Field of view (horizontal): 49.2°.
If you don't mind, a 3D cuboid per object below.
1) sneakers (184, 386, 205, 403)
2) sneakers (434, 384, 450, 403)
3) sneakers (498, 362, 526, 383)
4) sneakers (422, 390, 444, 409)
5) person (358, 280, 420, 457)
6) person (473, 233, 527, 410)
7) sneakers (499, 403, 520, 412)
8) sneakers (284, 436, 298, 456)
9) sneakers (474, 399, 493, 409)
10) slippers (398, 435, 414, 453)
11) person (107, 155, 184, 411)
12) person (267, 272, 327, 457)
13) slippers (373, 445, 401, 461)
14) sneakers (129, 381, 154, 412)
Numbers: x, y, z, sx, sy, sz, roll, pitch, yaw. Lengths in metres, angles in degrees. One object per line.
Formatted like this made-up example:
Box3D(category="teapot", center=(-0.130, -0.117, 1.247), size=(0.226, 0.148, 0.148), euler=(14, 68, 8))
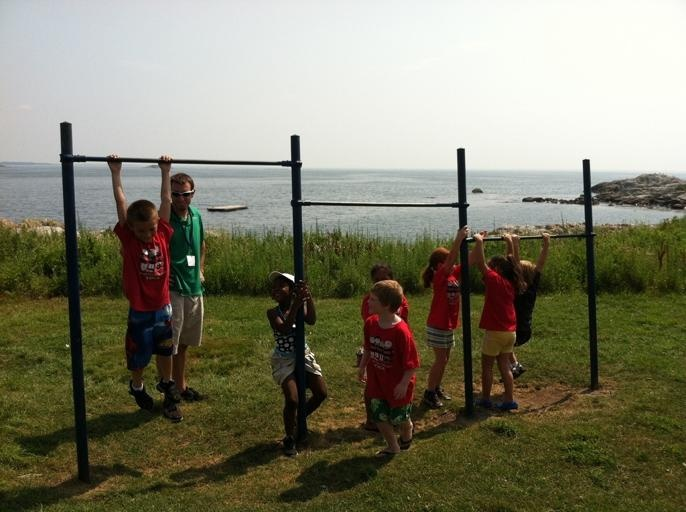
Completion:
Box3D(category="sneakers", center=(-1.758, 1.648, 8.877), size=(0.233, 0.101, 0.124), euler=(3, 11, 35))
Box3D(category="sneakers", center=(1.150, 1.660, 9.132), size=(0.292, 0.133, 0.102), euler=(3, 7, 43))
Box3D(category="sneakers", center=(2.142, 1.493, 9.571), size=(0.204, 0.287, 0.616), euler=(-42, -2, 10))
Box3D(category="sneakers", center=(1.054, 1.711, 8.969), size=(0.121, 0.153, 0.304), euler=(-3, -1, -27))
Box3D(category="person", center=(0.491, 1.166, 7.763), size=(0.541, 1.806, 0.357), euler=(-1, 3, 0))
Box3D(category="person", center=(1.763, 0.777, 8.757), size=(0.648, 2.055, 0.331), euler=(-3, 4, -24))
Box3D(category="sneakers", center=(1.928, 1.766, 8.748), size=(0.214, 0.096, 0.089), euler=(1, 9, 17))
Box3D(category="sneakers", center=(-0.563, 2.000, 8.000), size=(0.150, 0.201, 0.228), euler=(-2, 4, -5))
Box3D(category="sneakers", center=(1.652, 1.747, 8.875), size=(0.187, 0.084, 0.092), euler=(7, 10, 40))
Box3D(category="slippers", center=(0.655, 1.991, 7.906), size=(0.127, 0.158, 0.391), euler=(0, 5, 2))
Box3D(category="person", center=(-2.125, 0.419, 8.149), size=(0.639, 2.938, 0.975), euler=(-2, 3, -14))
Box3D(category="person", center=(-0.504, 1.125, 8.132), size=(0.608, 1.899, 0.600), euler=(-2, 3, -4))
Box3D(category="slippers", center=(0.451, 2.051, 7.778), size=(0.272, 0.109, 0.099), euler=(4, 5, 0))
Box3D(category="sneakers", center=(-2.296, 1.611, 8.521), size=(0.136, 0.361, 0.147), euler=(-35, 6, -39))
